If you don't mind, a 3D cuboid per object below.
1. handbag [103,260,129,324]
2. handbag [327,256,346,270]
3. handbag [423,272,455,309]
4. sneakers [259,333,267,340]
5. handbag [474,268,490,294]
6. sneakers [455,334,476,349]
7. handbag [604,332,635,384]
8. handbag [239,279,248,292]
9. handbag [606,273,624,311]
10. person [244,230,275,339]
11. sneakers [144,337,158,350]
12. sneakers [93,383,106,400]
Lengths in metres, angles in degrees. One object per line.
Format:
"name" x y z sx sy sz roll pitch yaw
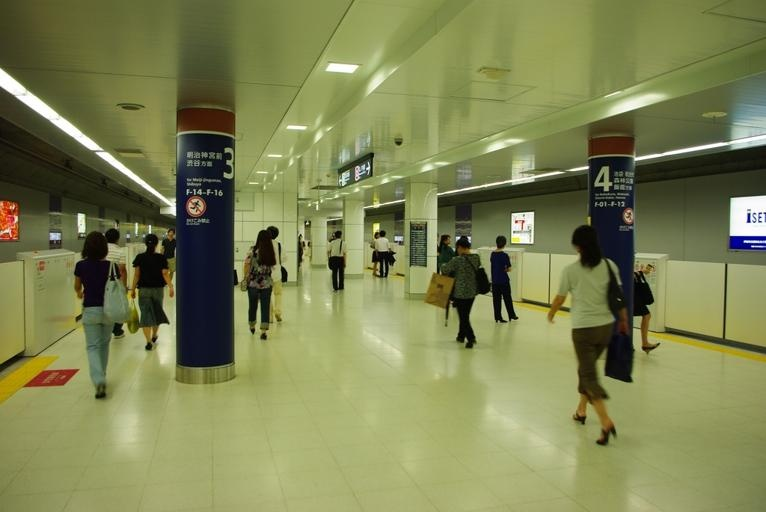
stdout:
"handbag" -3.807 0.550 7.892 0.331 0.879 0.395 -5 11 -26
"handbag" -1.570 0.204 18.509 0.629 0.520 0.420 2 7 -3
"handbag" 1.058 0.650 10.555 0.492 0.588 0.298 9 14 40
"sneakers" -2.379 1.600 10.992 0.114 0.108 0.260 0 -5 -8
"handbag" 1.880 0.487 10.618 0.277 0.560 0.357 2 10 9
"sneakers" 1.602 1.655 10.758 0.146 0.204 0.429 0 8 -29
"handbag" 2.911 1.233 6.866 0.290 0.581 0.227 4 11 16
"handbag" -2.730 0.557 10.928 0.115 0.251 0.264 -2 11 -15
"handbag" 2.856 0.451 6.834 0.191 0.498 0.179 -3 11 -20
"person" -2.456 0.575 11.131 0.611 2.232 0.979 -2 10 -13
"sneakers" -4.329 1.642 10.331 0.128 0.130 0.366 0 2 -8
"sneakers" -3.962 1.892 7.808 0.126 0.228 0.103 -9 14 -42
